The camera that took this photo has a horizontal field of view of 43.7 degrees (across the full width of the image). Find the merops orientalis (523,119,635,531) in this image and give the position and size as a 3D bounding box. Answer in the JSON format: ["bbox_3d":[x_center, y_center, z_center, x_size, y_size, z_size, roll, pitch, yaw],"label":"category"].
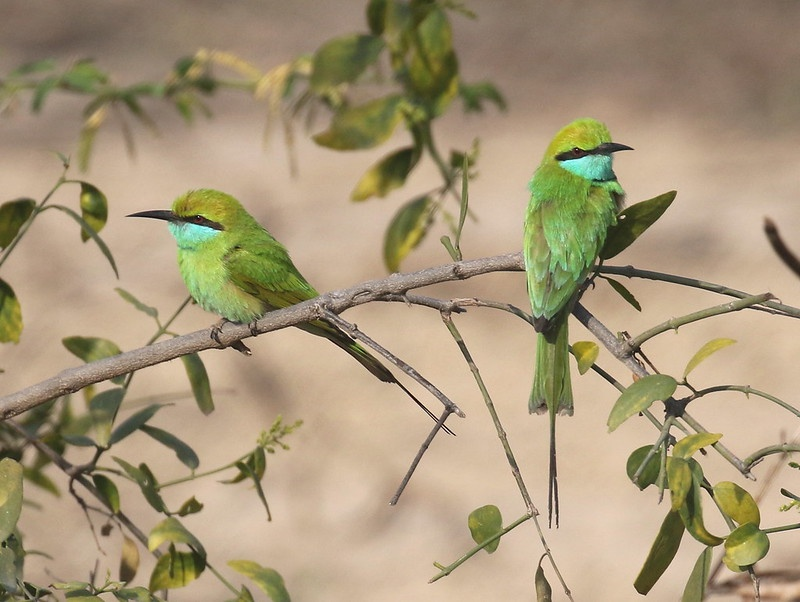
[{"bbox_3d":[0.470,-0.113,2.636,0.319,0.908,0.309,-4,-49,6],"label":"merops orientalis"}]
